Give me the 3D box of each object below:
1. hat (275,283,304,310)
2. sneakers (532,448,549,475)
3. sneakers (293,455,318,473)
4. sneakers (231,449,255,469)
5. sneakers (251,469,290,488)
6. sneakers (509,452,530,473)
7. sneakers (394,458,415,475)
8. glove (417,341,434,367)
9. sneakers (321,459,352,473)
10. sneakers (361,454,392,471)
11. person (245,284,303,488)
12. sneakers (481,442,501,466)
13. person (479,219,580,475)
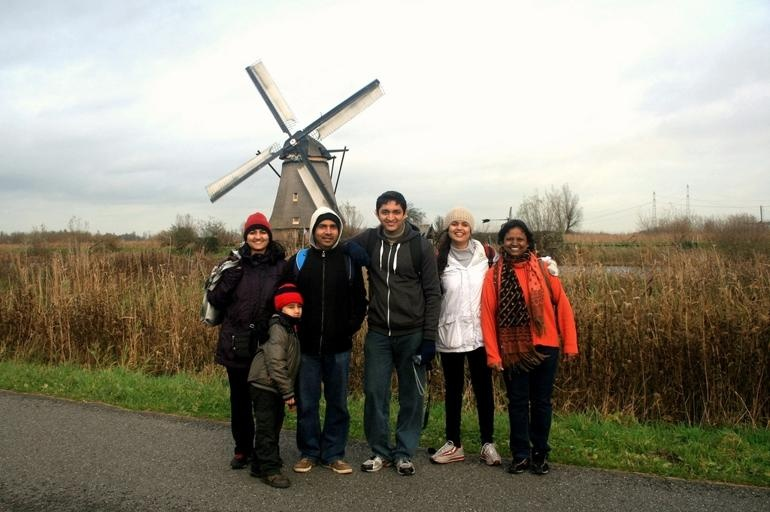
[{"bbox_3d":[-1.107,0.477,6.244,0.271,0.296,0.303,-2,-2,-32],"label":"hat"},{"bbox_3d":[1.827,2.402,6.288,0.241,0.259,0.172,0,6,0],"label":"sneakers"},{"bbox_3d":[-0.908,2.462,6.313,0.105,0.120,0.293,-5,-15,23],"label":"sneakers"},{"bbox_3d":[-1.642,2.401,6.459,0.143,0.175,0.402,7,6,6],"label":"sneakers"},{"bbox_3d":[-1.244,2.499,6.002,0.382,0.166,0.170,0,3,15],"label":"sneakers"},{"bbox_3d":[1.569,2.438,6.280,0.121,0.135,0.310,2,2,33],"label":"sneakers"},{"bbox_3d":[0.261,2.437,6.234,0.231,0.173,0.163,0,6,-3],"label":"sneakers"},{"bbox_3d":[0.503,1.177,6.398,0.212,0.364,0.169,-5,8,-38],"label":"glove"},{"bbox_3d":[-0.509,2.468,6.281,0.271,0.090,0.123,-5,-7,37],"label":"sneakers"},{"bbox_3d":[-0.084,2.457,6.363,0.347,0.155,0.138,9,-10,-36],"label":"sneakers"},{"bbox_3d":[-1.237,1.441,6.136,0.597,2.165,0.744,0,6,-4],"label":"person"},{"bbox_3d":[1.273,2.413,6.460,0.148,0.137,0.290,1,-13,-7],"label":"sneakers"},{"bbox_3d":[1.675,1.059,6.364,1.082,2.939,0.674,1,6,10],"label":"person"}]
